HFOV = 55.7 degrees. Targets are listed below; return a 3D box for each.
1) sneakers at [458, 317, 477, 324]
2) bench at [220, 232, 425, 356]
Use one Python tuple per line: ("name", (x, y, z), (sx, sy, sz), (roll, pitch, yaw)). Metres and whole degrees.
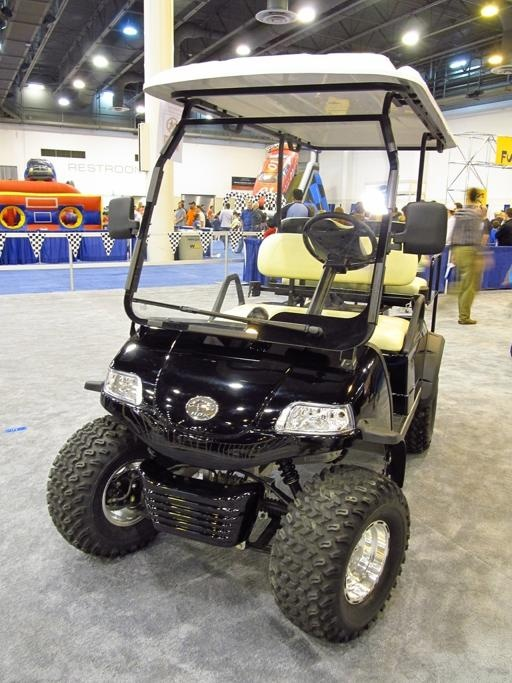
("sneakers", (3.058, -0.314, 7.052), (0.277, 0.116, 0.097), (-1, 11, 4))
("bench", (0.400, -0.274, 2.659), (0.639, 0.606, 1.087), (3, 4, 28))
